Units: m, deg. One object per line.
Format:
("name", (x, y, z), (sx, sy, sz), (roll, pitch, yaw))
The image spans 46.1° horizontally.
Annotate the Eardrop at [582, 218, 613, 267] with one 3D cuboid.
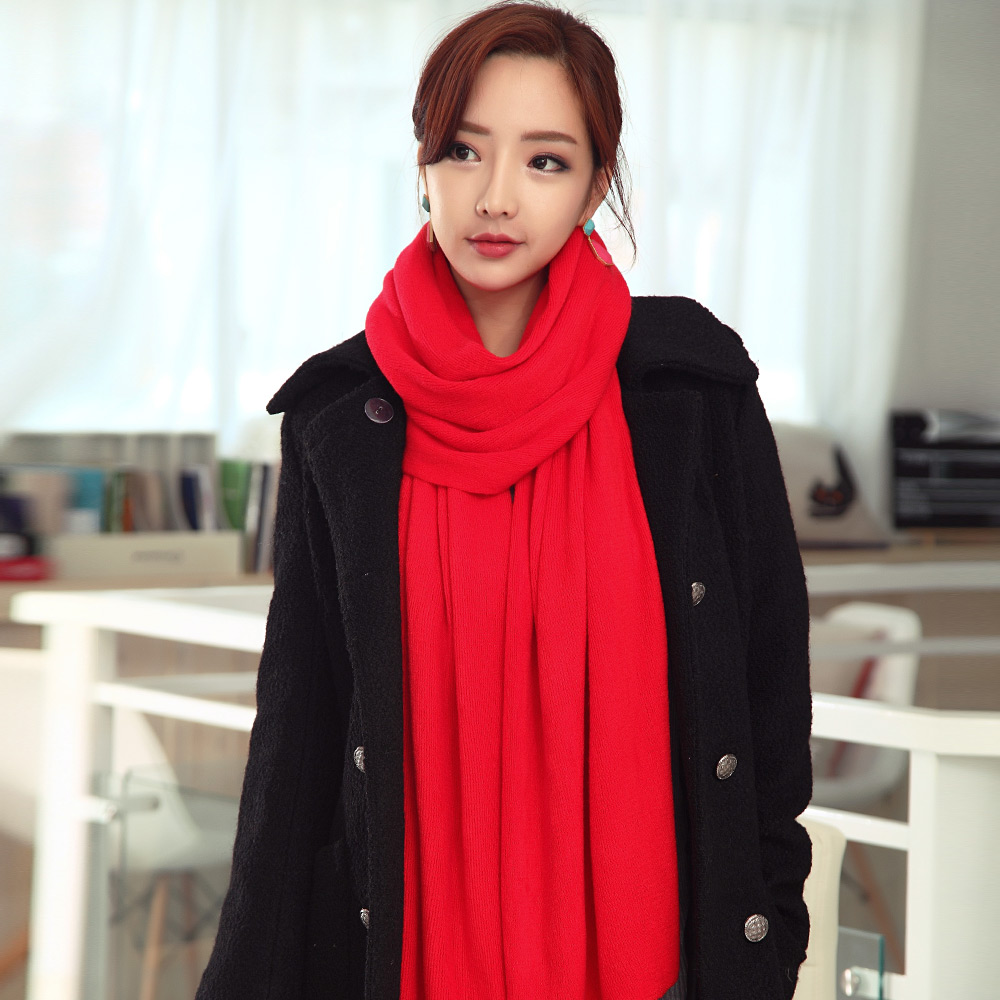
("Eardrop", (0.085, -0.221, 1.030), (0.008, 0.044, 0.030), (-35, -1, 26))
